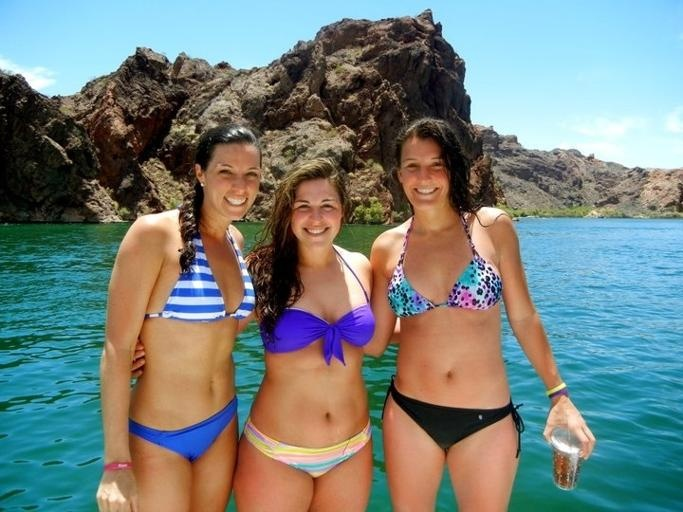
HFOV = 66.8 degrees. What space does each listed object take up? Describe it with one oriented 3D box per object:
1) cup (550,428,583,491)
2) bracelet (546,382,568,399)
[{"bbox_3d":[1.841,1.699,4.304,0.234,0.437,0.325,5,9,22],"label":"cup"},{"bbox_3d":[1.898,1.186,4.611,0.166,0.120,0.154,-31,-12,38],"label":"bracelet"}]
